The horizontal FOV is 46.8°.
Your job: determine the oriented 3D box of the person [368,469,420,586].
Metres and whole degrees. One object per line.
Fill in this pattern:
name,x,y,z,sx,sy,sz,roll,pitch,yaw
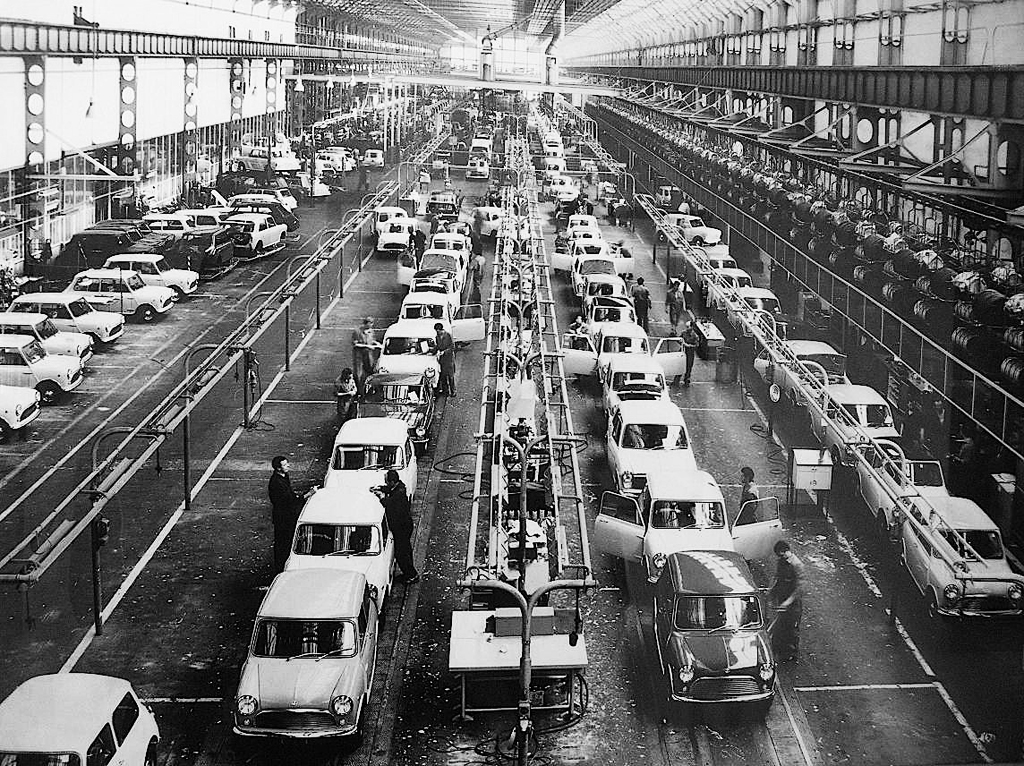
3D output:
person,-2.078,2.527,21.171,0.703,2.124,0.683,2,25,12

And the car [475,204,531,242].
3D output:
car,-0.327,-7.370,53.575,2.750,1.374,1.708,6,16,27

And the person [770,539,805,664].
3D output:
person,4.443,3.633,19.177,0.457,1.987,0.712,2,16,12

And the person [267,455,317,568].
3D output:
person,-3.985,2.410,21.403,0.822,2.392,0.812,-9,36,-13

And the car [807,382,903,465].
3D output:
car,7.830,0.794,26.540,1.407,1.132,2.519,1,13,5

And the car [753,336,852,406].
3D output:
car,7.809,-0.262,31.096,1.437,1.090,2.391,-1,13,-5
